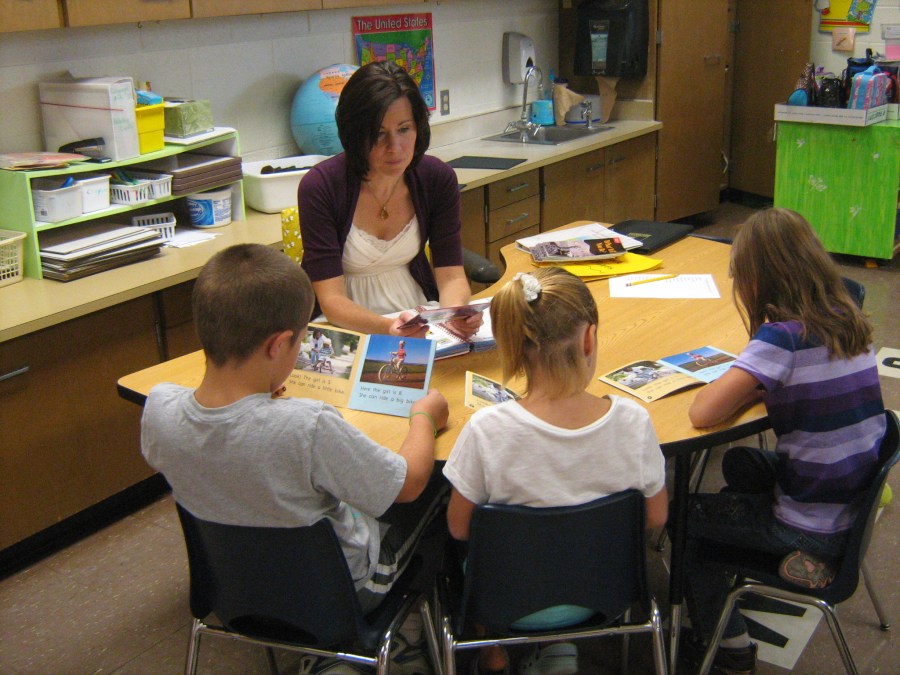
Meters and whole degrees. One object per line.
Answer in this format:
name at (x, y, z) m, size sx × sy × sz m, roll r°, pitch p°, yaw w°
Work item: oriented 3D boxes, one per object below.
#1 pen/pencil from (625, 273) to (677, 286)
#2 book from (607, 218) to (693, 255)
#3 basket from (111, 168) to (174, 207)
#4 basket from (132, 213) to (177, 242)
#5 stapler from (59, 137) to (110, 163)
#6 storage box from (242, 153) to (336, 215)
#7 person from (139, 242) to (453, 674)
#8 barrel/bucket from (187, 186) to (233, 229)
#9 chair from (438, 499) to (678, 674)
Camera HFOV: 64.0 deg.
pen/pencil at (0.749, -0.214, 2.655) m, size 0.147 × 0.017 × 0.015 m, roll -17°, pitch 14°, yaw -10°
book at (0.880, -0.441, 3.044) m, size 0.194 × 0.036 × 0.250 m, roll 18°, pitch 33°, yaw 37°
basket at (-1.312, -0.633, 3.024) m, size 0.215 × 0.073 × 0.153 m, roll 10°, pitch 21°, yaw 34°
basket at (-1.298, -0.504, 3.205) m, size 0.197 × 0.091 × 0.139 m, roll -10°, pitch 16°, yaw -42°
stapler at (-1.500, -0.770, 2.943) m, size 0.269 × 0.102 × 0.080 m, roll 9°, pitch 23°, yaw 15°
storage box at (-0.775, -0.793, 3.651) m, size 0.491 × 0.182 × 0.329 m, roll -15°, pitch 25°, yaw -39°
person at (-0.346, 0.239, 1.541) m, size 0.570 × 0.843 × 0.294 m, roll -12°, pitch 24°, yaw -20°
barrel/bucket at (-1.123, -0.618, 3.358) m, size 0.188 × 0.145 × 0.192 m, roll -4°, pitch 13°, yaw 1°
chair at (0.238, 0.478, 1.741) m, size 0.426 × 0.456 × 0.475 m, roll -4°, pitch 30°, yaw -1°
